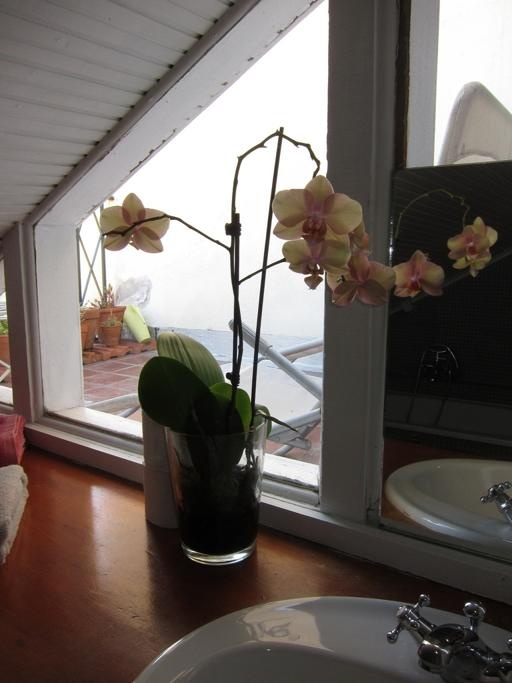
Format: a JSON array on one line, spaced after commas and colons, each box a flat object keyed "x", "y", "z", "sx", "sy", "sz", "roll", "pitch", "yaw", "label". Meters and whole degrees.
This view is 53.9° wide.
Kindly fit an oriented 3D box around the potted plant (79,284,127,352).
[{"x": -1.230, "y": -0.173, "z": 4.037, "sx": 0.430, "sy": 0.633, "sz": 0.531, "roll": -6, "pitch": 10, "yaw": -21, "label": "potted plant"}]

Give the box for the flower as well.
[{"x": 0.028, "y": -0.051, "z": 0.443, "sx": 0.326, "sy": 0.247, "sz": 0.096, "roll": 6, "pitch": 10, "yaw": 13, "label": "flower"}]
